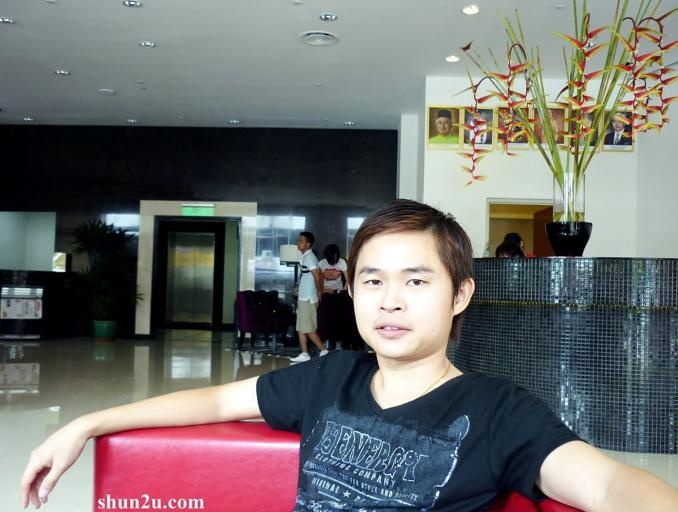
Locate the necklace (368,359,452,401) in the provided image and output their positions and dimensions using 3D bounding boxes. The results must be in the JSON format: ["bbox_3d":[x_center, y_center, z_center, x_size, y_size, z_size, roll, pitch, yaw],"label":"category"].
[{"bbox_3d":[0.206,0.347,1.498,0.101,0.097,0.057,-17,-23,28],"label":"necklace"}]
